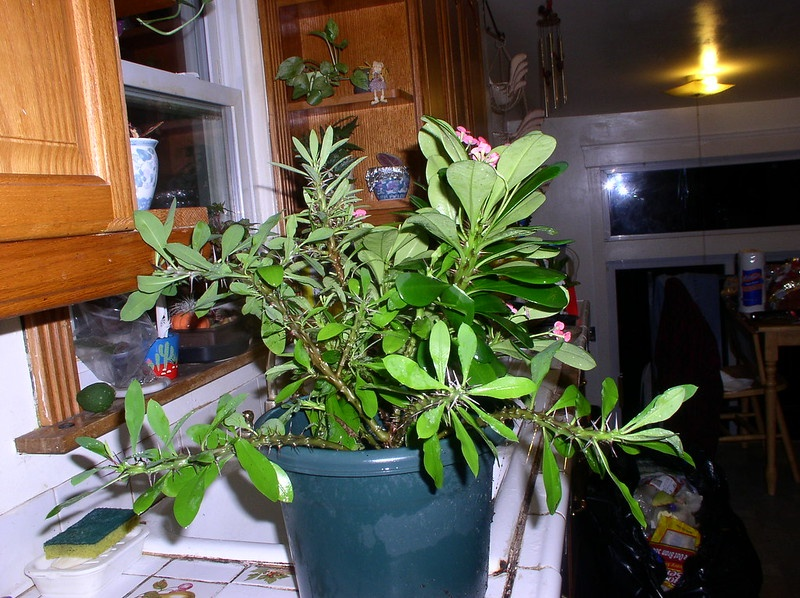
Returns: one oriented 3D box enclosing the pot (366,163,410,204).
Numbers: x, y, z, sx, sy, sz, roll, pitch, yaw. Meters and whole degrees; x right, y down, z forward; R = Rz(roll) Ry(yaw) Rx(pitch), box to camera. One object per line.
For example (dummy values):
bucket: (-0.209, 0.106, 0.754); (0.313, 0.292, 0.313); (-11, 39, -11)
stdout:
pot: (-0.036, -0.335, 1.685); (0.130, 0.109, 0.135); (-4, 2, 0)

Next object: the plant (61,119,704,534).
plant: (0.014, 0.087, 0.717); (0.589, 0.395, 0.540); (0, 30, -9)

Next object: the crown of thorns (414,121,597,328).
crown of thorns: (0.086, -0.065, 0.638); (0.204, 0.197, 0.211); (18, 15, 13)
